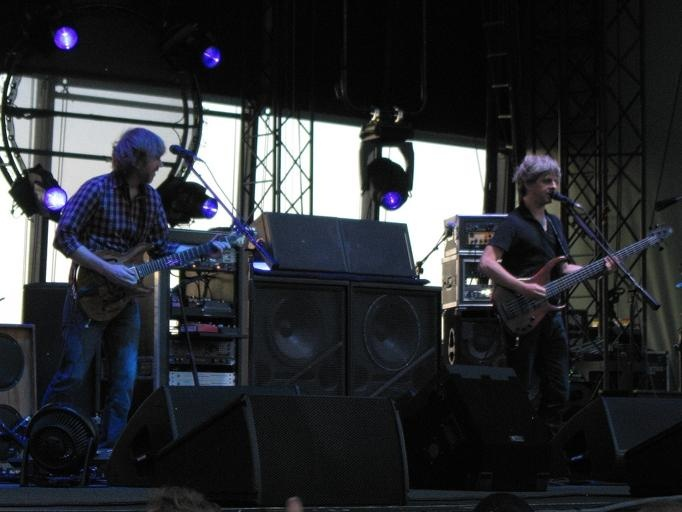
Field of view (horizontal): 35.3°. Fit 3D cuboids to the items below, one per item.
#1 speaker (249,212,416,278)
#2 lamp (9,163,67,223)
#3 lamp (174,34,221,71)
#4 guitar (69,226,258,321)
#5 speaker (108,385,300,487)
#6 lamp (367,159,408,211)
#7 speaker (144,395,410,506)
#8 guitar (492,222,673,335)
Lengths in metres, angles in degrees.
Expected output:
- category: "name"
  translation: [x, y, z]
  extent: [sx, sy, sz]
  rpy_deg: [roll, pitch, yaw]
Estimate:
- category: "speaker"
  translation: [0.004, -0.069, 7.388]
  extent: [1.055, 0.408, 0.168]
  rpy_deg: [3, -6, -17]
- category: "lamp"
  translation: [-2.848, -0.607, 9.958]
  extent: [0.584, 0.289, 0.505]
  rpy_deg: [15, 7, 34]
- category: "lamp"
  translation: [-1.434, -2.047, 10.731]
  extent: [0.275, 0.333, 0.491]
  rpy_deg: [-2, -7, 30]
- category: "guitar"
  translation: [-1.103, 0.129, 7.424]
  extent: [0.551, 0.248, 1.675]
  rpy_deg: [-10, 12, 38]
- category: "speaker"
  translation: [-0.956, 0.964, 6.080]
  extent: [0.736, 0.409, 0.583]
  rpy_deg: [2, -8, -22]
- category: "lamp"
  translation: [0.448, -0.722, 10.564]
  extent: [0.386, 0.479, 0.447]
  rpy_deg: [-7, 33, -10]
- category: "speaker"
  translation: [-0.206, 1.085, 5.886]
  extent: [0.830, 0.402, 0.820]
  rpy_deg: [9, -10, -37]
- category: "guitar"
  translation: [1.642, 0.210, 7.533]
  extent: [1.175, 0.718, 0.356]
  rpy_deg: [5, -6, -27]
